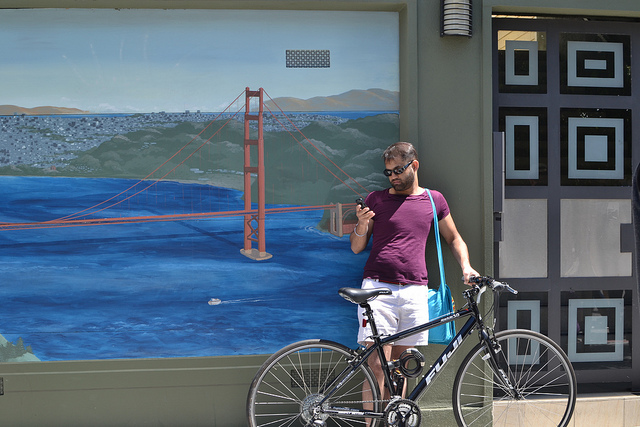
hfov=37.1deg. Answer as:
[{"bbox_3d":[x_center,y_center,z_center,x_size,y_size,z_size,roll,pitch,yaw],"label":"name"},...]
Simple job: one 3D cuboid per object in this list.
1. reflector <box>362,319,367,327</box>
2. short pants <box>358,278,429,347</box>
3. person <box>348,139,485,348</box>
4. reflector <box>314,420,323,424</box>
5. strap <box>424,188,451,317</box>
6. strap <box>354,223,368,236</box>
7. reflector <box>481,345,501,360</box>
[{"bbox_3d":[0.386,0.930,8.187,0.043,0.048,0.017,3,1,18],"label":"reflector"},{"bbox_3d":[0.639,0.846,8.223,0.615,0.437,0.380,2,1,4],"label":"short pants"},{"bbox_3d":[0.803,0.266,8.362,1.051,1.331,0.654,2,1,-3],"label":"person"},{"bbox_3d":[-0.011,1.728,7.993,0.063,0.021,0.014,2,1,-4],"label":"reflector"},{"bbox_3d":[1.006,0.334,8.371,0.169,1.297,0.086,-10,8,5],"label":"strap"},{"bbox_3d":[0.377,0.135,8.326,0.132,0.079,0.122,2,1,-19],"label":"strap"},{"bbox_3d":[1.450,1.178,8.167,0.111,0.144,0.055,39,7,-44],"label":"reflector"}]
